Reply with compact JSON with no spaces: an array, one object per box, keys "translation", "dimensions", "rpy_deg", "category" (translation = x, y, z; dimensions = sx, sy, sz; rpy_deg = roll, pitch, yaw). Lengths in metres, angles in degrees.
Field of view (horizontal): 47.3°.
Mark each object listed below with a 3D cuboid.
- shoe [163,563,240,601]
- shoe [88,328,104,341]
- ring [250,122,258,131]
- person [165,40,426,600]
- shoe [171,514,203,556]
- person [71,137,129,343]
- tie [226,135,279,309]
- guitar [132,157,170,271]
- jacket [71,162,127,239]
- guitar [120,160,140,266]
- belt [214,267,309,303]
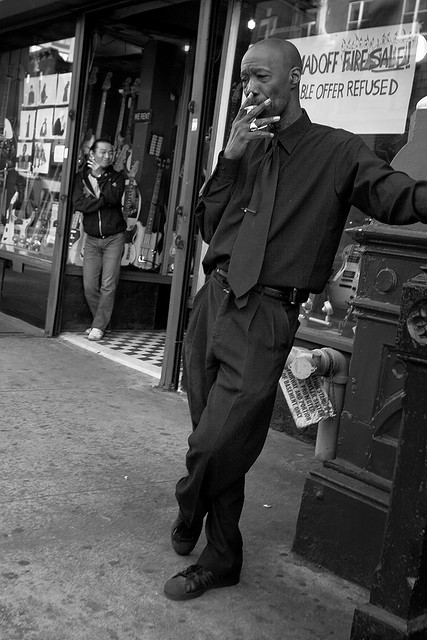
[{"translation":[-0.030,0.783,1.451],"dimensions":[0.209,0.082,0.092],"rpy_deg":[3,8,-24],"category":"shoe"},{"translation":[-1.381,0.170,5.795],"dimensions":[0.117,0.144,0.299],"rpy_deg":[5,1,18],"category":"shoe"},{"translation":[0.107,-0.518,1.302],"dimensions":[0.013,0.007,0.021],"rpy_deg":[15,-29,13],"category":"ring"},{"translation":[0.177,0.042,1.346],"dimensions":[0.702,1.580,0.262],"rpy_deg":[5,0,41],"category":"person"},{"translation":[-0.096,0.737,1.679],"dimensions":[0.098,0.149,0.095],"rpy_deg":[5,0,-3],"category":"shoe"},{"translation":[-1.400,-0.968,5.879],"dimensions":[0.631,2.448,0.438],"rpy_deg":[4,0,-12],"category":"person"},{"translation":[0.111,-0.294,1.368],"dimensions":[0.120,0.476,0.079],"rpy_deg":[4,0,14],"category":"tie"},{"translation":[-0.828,-1.435,6.608],"dimensions":[0.391,1.556,0.200],"rpy_deg":[11,24,-13],"category":"guitar"},{"translation":[-1.320,-1.462,6.062],"dimensions":[0.713,1.249,0.741],"rpy_deg":[2,8,10],"category":"jacket"},{"translation":[-1.155,-1.283,6.651],"dimensions":[0.174,1.683,0.164],"rpy_deg":[17,18,40],"category":"guitar"},{"translation":[0.183,-0.072,1.364],"dimensions":[0.126,0.037,0.140],"rpy_deg":[20,4,4],"category":"belt"}]
